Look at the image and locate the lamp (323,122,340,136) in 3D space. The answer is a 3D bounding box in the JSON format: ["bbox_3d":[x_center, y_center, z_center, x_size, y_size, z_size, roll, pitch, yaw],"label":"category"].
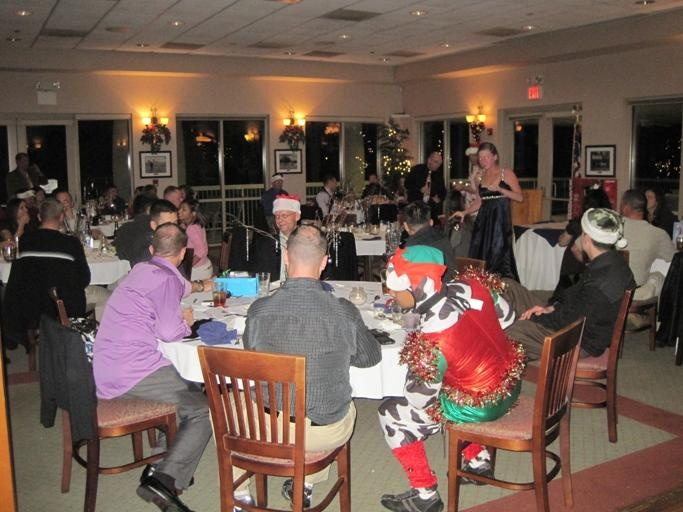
[{"bbox_3d":[-0.246,-3.037,13.222,0.405,0.279,0.093,-8,11,-35],"label":"lamp"}]

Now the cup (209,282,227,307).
[{"bbox_3d":[-0.829,0.272,3.752,0.137,0.158,0.134,-1,0,0],"label":"cup"}]

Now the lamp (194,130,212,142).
[{"bbox_3d":[-3.034,-2.583,12.039,0.376,0.241,0.082,-9,12,-39],"label":"lamp"}]

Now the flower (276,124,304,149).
[{"bbox_3d":[-1.225,-2.731,12.536,0.493,0.471,0.184,-6,24,-21],"label":"flower"}]

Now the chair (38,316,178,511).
[{"bbox_3d":[-1.356,0.864,3.138,0.542,1.096,0.663,-10,12,-41],"label":"chair"}]

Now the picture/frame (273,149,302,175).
[{"bbox_3d":[-1.303,-2.159,12.672,0.792,0.696,0.076,-5,8,-34],"label":"picture/frame"}]

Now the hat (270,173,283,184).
[{"bbox_3d":[-1.300,-1.553,10.911,0.252,0.193,0.362,-10,-8,-7],"label":"hat"}]

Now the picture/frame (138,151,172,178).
[{"bbox_3d":[-3.996,-1.925,11.572,0.564,0.478,0.041,-6,11,-35],"label":"picture/frame"}]

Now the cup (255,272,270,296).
[{"bbox_3d":[-0.568,0.209,4.033,0.140,0.228,0.136,-1,-2,0],"label":"cup"}]

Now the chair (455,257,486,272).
[{"bbox_3d":[1.004,0.066,4.297,0.171,0.175,0.163,3,5,34],"label":"chair"}]

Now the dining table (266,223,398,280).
[{"bbox_3d":[-0.068,0.176,6.791,1.461,0.435,1.518,-13,-9,25],"label":"dining table"}]

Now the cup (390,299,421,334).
[{"bbox_3d":[0.358,0.362,3.155,0.120,0.087,0.166,3,0,25],"label":"cup"}]

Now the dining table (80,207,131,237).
[{"bbox_3d":[-3.366,-0.455,7.917,0.822,0.212,0.836,8,13,27],"label":"dining table"}]

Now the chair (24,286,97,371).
[{"bbox_3d":[-1.619,0.510,3.264,0.386,0.550,0.329,18,0,-37],"label":"chair"}]

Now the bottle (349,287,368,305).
[{"bbox_3d":[0.109,0.269,3.666,0.106,0.103,0.108,0,-4,2],"label":"bottle"}]

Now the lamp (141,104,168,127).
[{"bbox_3d":[-3.875,-2.853,11.336,0.545,0.445,0.204,-5,10,-17],"label":"lamp"}]

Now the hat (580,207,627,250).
[{"bbox_3d":[1.720,-0.166,3.575,0.317,0.277,0.220,-6,10,-24],"label":"hat"}]

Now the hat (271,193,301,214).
[{"bbox_3d":[-0.483,-0.434,4.813,0.222,0.183,0.367,-3,9,-7],"label":"hat"}]

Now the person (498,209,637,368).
[{"bbox_3d":[1.480,0.379,3.826,0.843,1.425,0.618,11,23,22],"label":"person"}]

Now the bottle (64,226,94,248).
[{"bbox_3d":[-2.728,-0.187,5.685,0.272,0.111,0.118,13,-15,6],"label":"bottle"}]

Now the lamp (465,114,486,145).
[{"bbox_3d":[2.900,-2.760,11.943,0.271,0.624,0.500,-6,10,-26],"label":"lamp"}]

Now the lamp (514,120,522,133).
[{"bbox_3d":[3.705,-2.681,11.519,0.157,0.138,0.174,-2,2,-30],"label":"lamp"}]

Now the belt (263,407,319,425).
[{"bbox_3d":[-0.251,0.774,2.617,0.183,0.139,0.068,7,49,-2],"label":"belt"}]

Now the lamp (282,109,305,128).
[{"bbox_3d":[-1.149,-3.122,12.546,0.441,0.421,0.145,-2,0,-31],"label":"lamp"}]
